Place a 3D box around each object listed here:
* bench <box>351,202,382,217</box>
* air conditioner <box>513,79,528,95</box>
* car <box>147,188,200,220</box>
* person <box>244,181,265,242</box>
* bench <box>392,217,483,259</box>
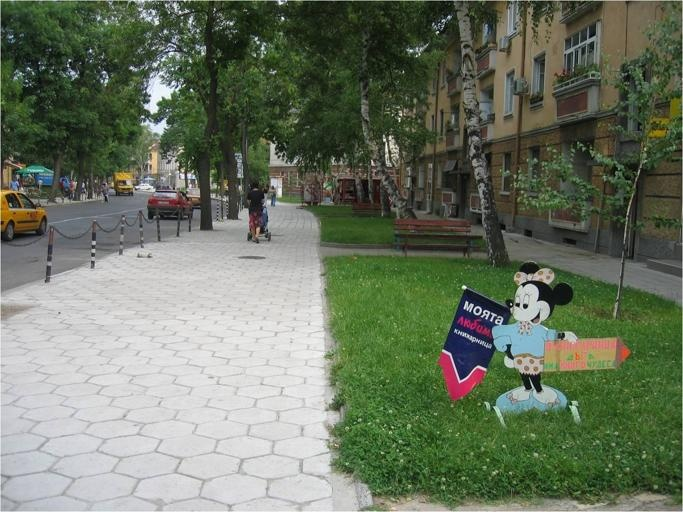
[{"bbox_3d":[1.700,-3.181,39.211,2.537,0.799,0.878,-4,10,-28],"label":"bench"},{"bbox_3d":[7.895,-7.407,25.071,0.623,0.702,0.490,2,0,0],"label":"air conditioner"},{"bbox_3d":[-9.989,-2.878,33.222,2.266,1.913,6.825,-2,10,-18],"label":"car"},{"bbox_3d":[-3.154,-1.602,21.027,0.569,2.190,1.281,-1,8,-10],"label":"person"},{"bbox_3d":[2.991,-0.634,18.221,2.566,1.119,2.847,2,9,7],"label":"bench"}]
